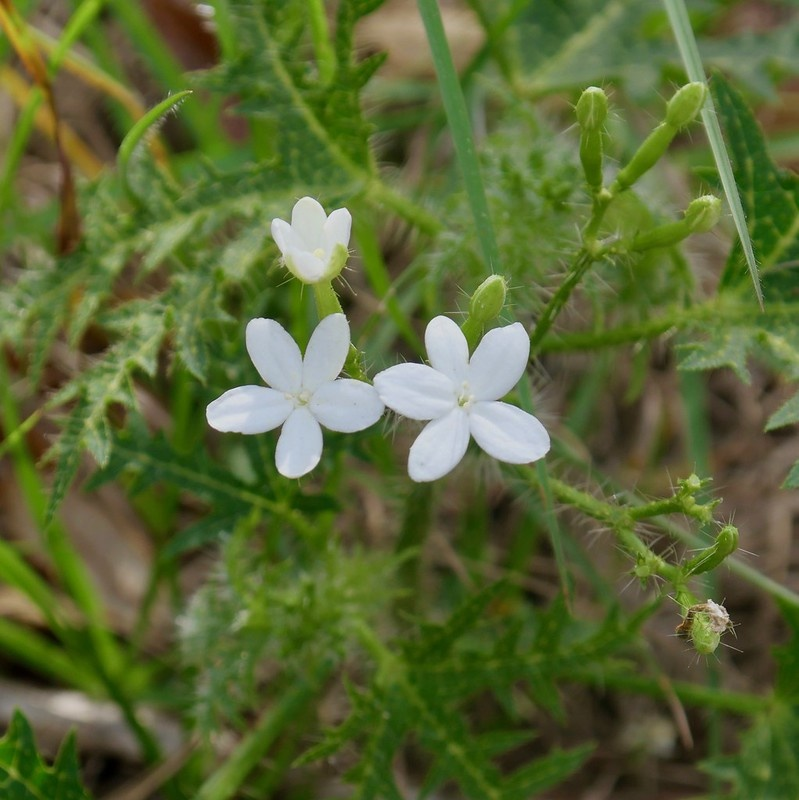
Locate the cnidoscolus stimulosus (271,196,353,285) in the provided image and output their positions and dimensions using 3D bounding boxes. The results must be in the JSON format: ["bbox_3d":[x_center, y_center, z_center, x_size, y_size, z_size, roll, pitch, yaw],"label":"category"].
[{"bbox_3d":[-0.229,-0.440,2.728,0.194,0.203,0.256,-19,72,-1],"label":"cnidoscolus stimulosus"}]

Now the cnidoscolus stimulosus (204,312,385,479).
[{"bbox_3d":[-0.310,-0.017,2.697,0.458,0.204,0.422,-31,64,-6],"label":"cnidoscolus stimulosus"}]
